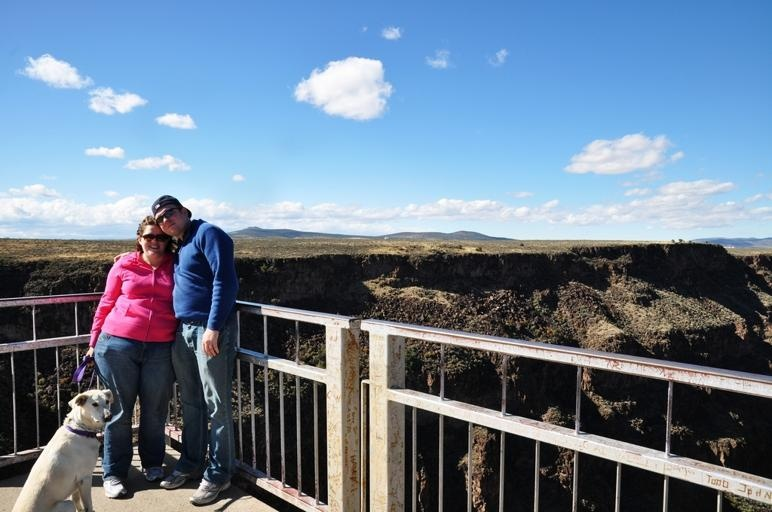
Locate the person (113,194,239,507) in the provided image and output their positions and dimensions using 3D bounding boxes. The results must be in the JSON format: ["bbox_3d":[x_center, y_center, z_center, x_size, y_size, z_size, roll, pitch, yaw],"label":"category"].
[{"bbox_3d":[-2.075,1.045,5.989,0.975,3.424,0.495,2,3,26],"label":"person"}]

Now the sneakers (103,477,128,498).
[{"bbox_3d":[-3.078,2.628,5.999,0.159,0.128,0.342,-6,9,-42],"label":"sneakers"}]

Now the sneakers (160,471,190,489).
[{"bbox_3d":[-2.437,2.593,6.159,0.158,0.129,0.342,20,12,40],"label":"sneakers"}]
